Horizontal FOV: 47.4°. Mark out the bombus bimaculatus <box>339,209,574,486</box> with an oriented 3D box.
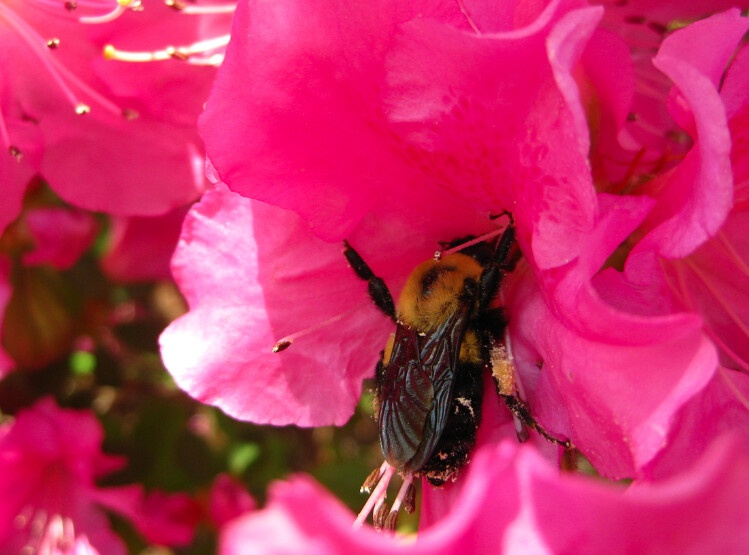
[{"bbox_3d":[0.080,0.096,0.984,0.211,0.336,0.094,6,10,28],"label":"bombus bimaculatus"}]
